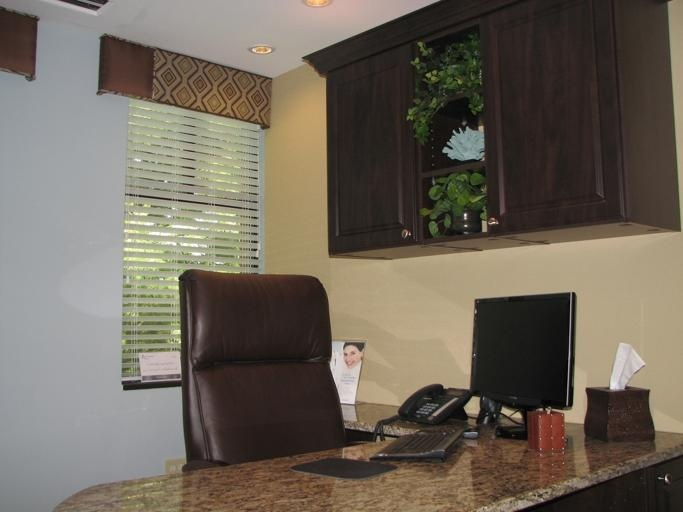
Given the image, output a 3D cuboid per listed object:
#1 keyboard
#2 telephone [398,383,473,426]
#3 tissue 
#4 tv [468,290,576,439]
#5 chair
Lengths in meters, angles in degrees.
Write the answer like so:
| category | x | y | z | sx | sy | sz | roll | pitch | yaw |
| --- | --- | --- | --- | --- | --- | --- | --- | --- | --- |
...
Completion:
| category | x | y | z | sx | sy | sz | roll | pitch | yaw |
| --- | --- | --- | --- | --- | --- | --- | --- | --- | --- |
| keyboard | 0.281 | 0.682 | 2.010 | 0.248 | 0.054 | 0.355 | -1 | -3 | 22 |
| telephone | 0.450 | 0.666 | 2.579 | 0.179 | 0.110 | 0.248 | -5 | -4 | 45 |
| tissue  | 1.098 | 0.549 | 2.234 | 0.242 | 0.341 | 0.237 | -5 | -8 | 23 |
| tv | 0.748 | 0.456 | 2.302 | 0.182 | 0.525 | 0.512 | 14 | -19 | -27 |
| chair | -0.521 | 0.498 | 2.502 | 0.679 | 0.941 | 0.797 | 5 | -16 | -28 |
